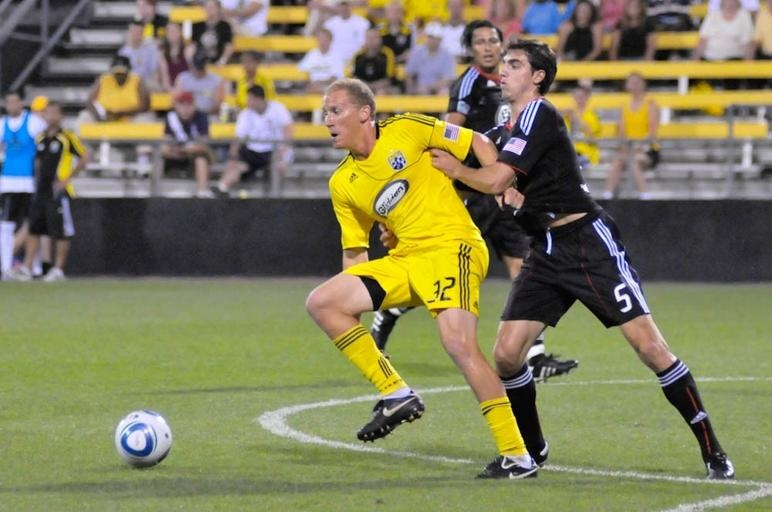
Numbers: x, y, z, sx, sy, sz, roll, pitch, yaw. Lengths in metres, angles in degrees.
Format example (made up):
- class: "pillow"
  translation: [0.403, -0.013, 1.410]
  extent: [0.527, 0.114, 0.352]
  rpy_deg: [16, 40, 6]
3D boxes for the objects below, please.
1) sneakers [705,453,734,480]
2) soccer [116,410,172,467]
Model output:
- class: "sneakers"
  translation: [3.161, 2.013, 14.529]
  extent: [0.219, 0.252, 0.105]
  rpy_deg: [2, 4, 7]
- class: "soccer"
  translation: [-2.326, 1.738, 14.774]
  extent: [0.534, 0.501, 0.543]
  rpy_deg: [6, 5, 39]
